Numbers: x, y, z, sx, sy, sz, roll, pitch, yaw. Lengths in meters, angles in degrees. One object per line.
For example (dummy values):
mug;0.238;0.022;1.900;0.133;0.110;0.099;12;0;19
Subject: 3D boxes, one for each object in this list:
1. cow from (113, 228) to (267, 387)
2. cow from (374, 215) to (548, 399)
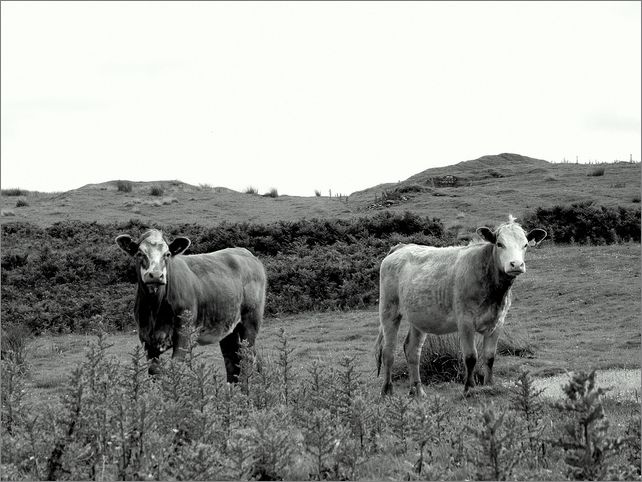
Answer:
cow;-2.106;1.144;13.498;0.977;2.464;3.245;-2;0;25
cow;2.372;1.343;14.033;1.164;2.998;3.892;3;-7;-36
